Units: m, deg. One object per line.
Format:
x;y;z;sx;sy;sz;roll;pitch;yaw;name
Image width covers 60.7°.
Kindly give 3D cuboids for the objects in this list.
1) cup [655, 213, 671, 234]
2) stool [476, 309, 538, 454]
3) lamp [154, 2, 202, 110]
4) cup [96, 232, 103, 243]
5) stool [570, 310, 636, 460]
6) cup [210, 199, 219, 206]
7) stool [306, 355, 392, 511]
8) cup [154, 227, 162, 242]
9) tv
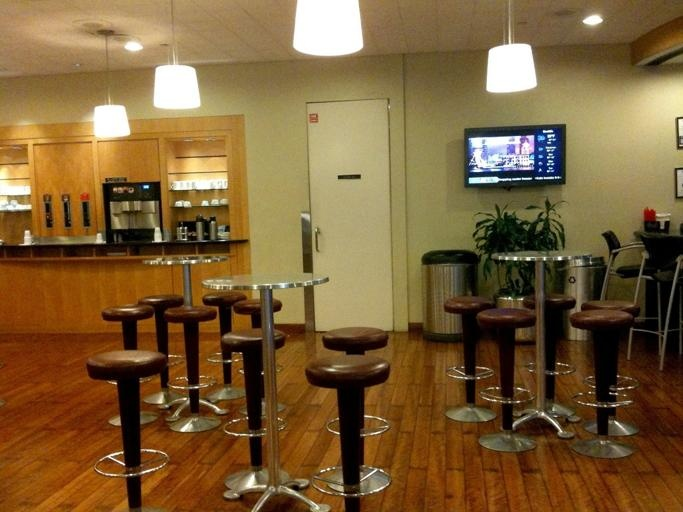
3.958;-0.409;7.178;0.165;0.225;0.419;2;7;27;cup
1.257;0.920;4.441;0.416;0.981;0.527;0;8;16;stool
-1.742;-1.970;6.017;0.386;1.120;1.812;-5;7;-16;lamp
-3.337;-0.267;8.079;0.104;0.128;0.070;-3;8;-9;cup
1.941;0.902;4.373;0.430;1.002;0.674;0;8;20;stool
-1.710;-0.734;7.988;0.126;0.084;0.081;-2;7;2;cup
0.059;1.092;3.616;0.539;1.023;0.633;-3;7;-2;stool
-2.516;-0.307;8.019;0.107;0.172;0.090;-3;8;-1;cup
2.182;-1.251;7.299;1.121;0.482;0.045;0;1;4;tv
